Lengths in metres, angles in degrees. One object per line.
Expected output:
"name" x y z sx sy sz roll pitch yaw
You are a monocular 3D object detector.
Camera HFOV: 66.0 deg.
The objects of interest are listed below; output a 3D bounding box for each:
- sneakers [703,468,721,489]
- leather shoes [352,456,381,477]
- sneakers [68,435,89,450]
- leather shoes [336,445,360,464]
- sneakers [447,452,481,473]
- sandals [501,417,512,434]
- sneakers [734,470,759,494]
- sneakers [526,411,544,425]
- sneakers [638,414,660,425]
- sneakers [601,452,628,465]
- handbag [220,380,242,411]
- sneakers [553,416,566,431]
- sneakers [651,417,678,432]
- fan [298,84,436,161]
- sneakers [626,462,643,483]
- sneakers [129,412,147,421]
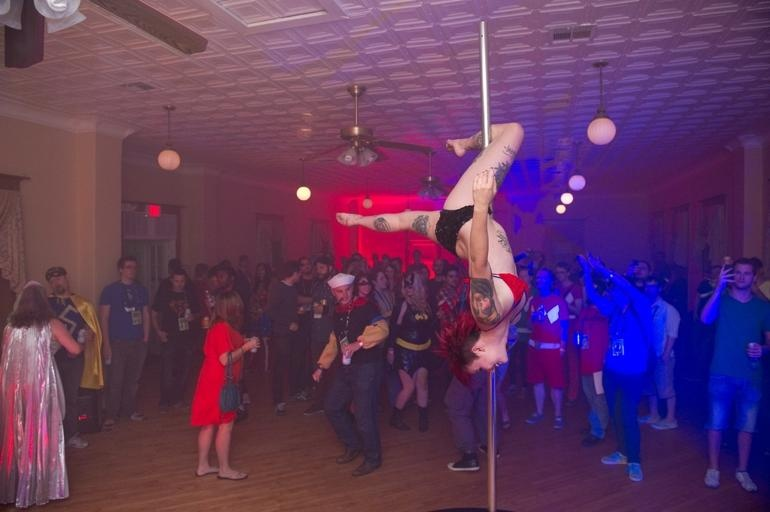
"sneakers" 3.653 2.494 6.615 0.125 0.220 0.094 -7 -26 39
"leather shoes" -0.214 2.468 7.020 0.373 0.270 0.152 -2 4 -20
"sneakers" -3.934 2.384 7.558 0.241 0.111 0.116 4 9 -3
"leather shoes" -0.454 2.386 7.211 0.321 0.214 0.133 -10 22 -23
"sneakers" 0.961 2.436 7.063 0.429 0.303 0.172 1 -2 14
"sandals" 1.625 2.279 7.958 0.096 0.111 0.275 2 10 16
"sneakers" 4.024 2.503 6.599 0.134 0.103 0.245 -18 29 -1
"sneakers" 2.043 2.224 8.101 0.277 0.113 0.102 -2 0 -43
"sneakers" 3.586 2.232 8.035 0.139 0.095 0.239 -2 -1 -41
"sneakers" 2.725 2.430 7.103 0.321 0.134 0.120 0 0 4
"handbag" -1.748 1.597 6.707 0.122 0.386 0.328 4 14 18
"sneakers" 2.330 2.255 7.937 0.119 0.133 0.336 -3 -13 18
"sneakers" 3.727 2.255 7.914 0.304 0.126 0.179 -4 -1 8
"fan" -0.425 -1.859 8.253 1.462 0.806 1.520 11 18 40
"sneakers" 2.848 2.470 6.724 0.115 0.089 0.225 -4 -5 6
"sneakers" -3.477 2.256 8.300 0.157 0.059 0.097 4 6 0
